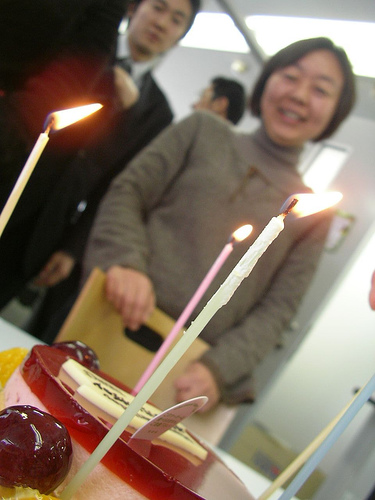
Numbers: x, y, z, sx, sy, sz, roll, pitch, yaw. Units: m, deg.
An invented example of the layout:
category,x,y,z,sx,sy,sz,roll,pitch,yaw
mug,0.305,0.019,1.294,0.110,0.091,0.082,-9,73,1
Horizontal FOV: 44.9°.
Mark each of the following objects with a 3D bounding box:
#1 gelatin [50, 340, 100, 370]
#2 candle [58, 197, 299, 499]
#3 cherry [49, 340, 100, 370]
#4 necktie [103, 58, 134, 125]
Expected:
category,x,y,z,sx,sy,sz,roll,pitch,yaw
gelatin,-0.117,0.102,0.473,0.039,0.020,0.031,27,1,-17
candle,-0.012,0.066,0.248,0.008,0.145,0.036,37,18,6
cherry,-0.111,0.104,0.462,0.034,0.021,0.041,16,-9,33
necktie,-0.162,-0.404,1.147,0.067,0.104,0.083,2,15,-35
